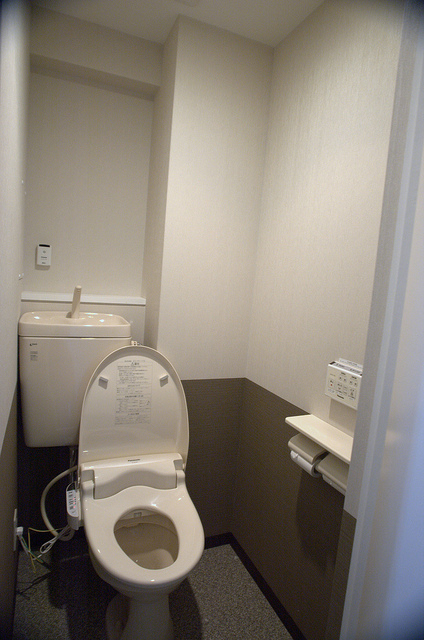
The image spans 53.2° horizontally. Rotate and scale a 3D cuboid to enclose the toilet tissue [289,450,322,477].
[{"bbox_3d":[0.269,0.417,1.227,0.093,0.066,0.076,7,5,23],"label":"toilet tissue"}]
